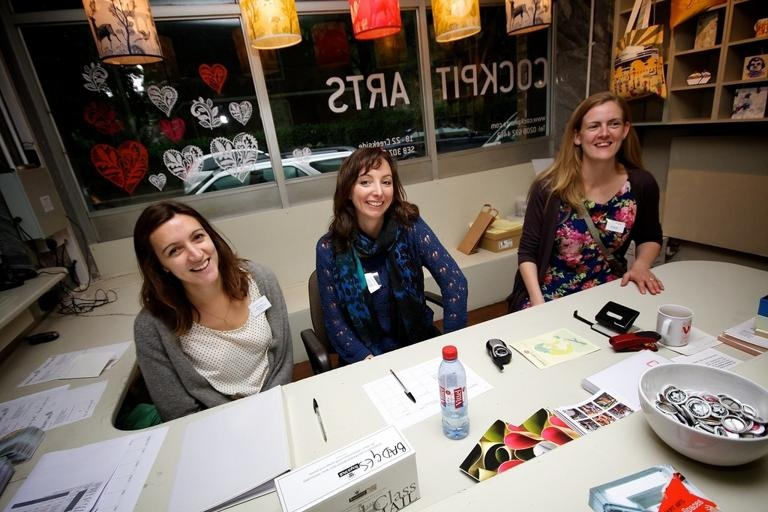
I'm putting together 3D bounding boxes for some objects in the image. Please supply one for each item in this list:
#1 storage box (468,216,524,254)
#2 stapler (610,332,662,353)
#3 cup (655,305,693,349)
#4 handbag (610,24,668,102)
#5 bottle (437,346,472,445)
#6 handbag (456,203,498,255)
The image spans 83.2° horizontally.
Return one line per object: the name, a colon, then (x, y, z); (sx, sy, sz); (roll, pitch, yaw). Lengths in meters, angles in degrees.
storage box: (1.135, -0.252, 4.134); (0.360, 0.237, 0.373); (-17, 20, -35)
stapler: (1.242, 0.406, 2.098); (0.287, 0.097, 0.091); (0, 33, -8)
cup: (1.362, 0.351, 2.069); (0.188, 0.134, 0.116); (-8, 15, -30)
handbag: (2.306, -1.812, 3.828); (0.179, 0.740, 0.569); (-19, 23, -5)
bottle: (0.286, 0.557, 1.794); (0.122, 0.392, 0.151); (-5, 22, 9)
handbag: (0.922, -0.247, 4.288); (0.129, 0.583, 0.579); (28, 10, -12)
